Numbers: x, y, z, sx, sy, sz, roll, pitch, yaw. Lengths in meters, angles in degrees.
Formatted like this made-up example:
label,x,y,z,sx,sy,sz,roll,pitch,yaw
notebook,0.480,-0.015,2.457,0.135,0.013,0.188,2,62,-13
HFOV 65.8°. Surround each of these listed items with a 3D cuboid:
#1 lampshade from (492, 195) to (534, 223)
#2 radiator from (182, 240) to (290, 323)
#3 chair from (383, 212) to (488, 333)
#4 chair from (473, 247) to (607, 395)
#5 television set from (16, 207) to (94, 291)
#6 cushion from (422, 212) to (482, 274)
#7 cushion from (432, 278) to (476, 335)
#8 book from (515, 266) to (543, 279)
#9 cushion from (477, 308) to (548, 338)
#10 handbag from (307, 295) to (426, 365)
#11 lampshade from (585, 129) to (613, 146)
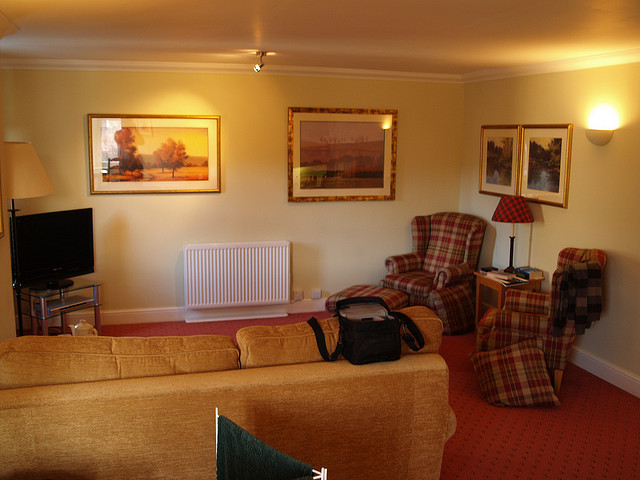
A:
label,x,y,z,sx,sy,sz,roll,pitch,yaw
lampshade,2.116,-0.366,5.428,0.317,0.296,0.314,-5,9,-25
radiator,-1.079,0.488,6.123,0.975,0.785,0.189,-2,13,-11
chair,1.397,0.373,6.257,0.987,1.398,1.255,-1,7,-21
chair,2.089,0.646,5.055,1.281,1.448,1.237,6,13,24
television set,-2.772,0.105,5.170,0.324,0.795,0.837,4,8,36
cushion,1.579,0.128,6.208,0.734,0.904,0.758,11,5,26
cushion,1.489,0.756,5.545,0.326,0.582,0.524,-5,12,41
book,2.238,0.355,5.373,0.160,0.068,0.158,-4,12,-22
cushion,1.696,0.785,4.748,0.322,0.148,0.342,4,6,11
handbag,0.272,0.506,2.856,0.451,0.190,0.433,-4,19,-15
lampshade,2.647,-0.971,4.709,0.111,0.148,0.212,-4,13,-31
